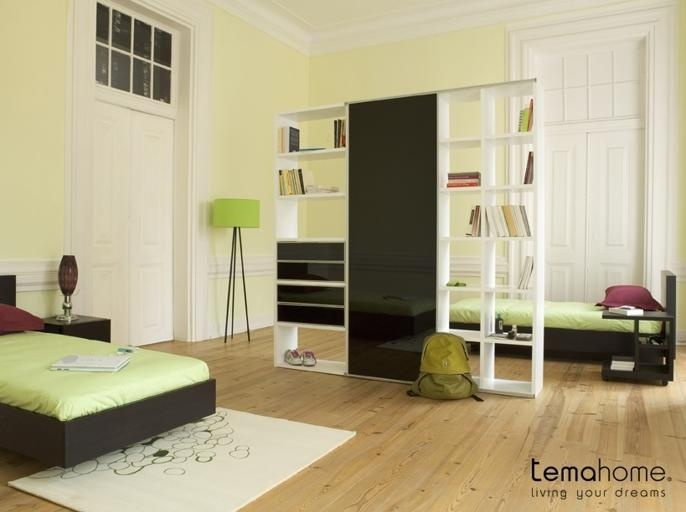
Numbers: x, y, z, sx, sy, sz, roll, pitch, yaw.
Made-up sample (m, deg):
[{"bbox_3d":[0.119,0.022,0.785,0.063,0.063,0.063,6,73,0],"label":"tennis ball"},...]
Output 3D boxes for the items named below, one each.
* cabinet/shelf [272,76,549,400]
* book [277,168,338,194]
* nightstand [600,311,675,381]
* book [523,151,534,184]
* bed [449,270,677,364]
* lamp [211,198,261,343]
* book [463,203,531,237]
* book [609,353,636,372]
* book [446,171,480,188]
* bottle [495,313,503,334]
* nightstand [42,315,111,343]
[{"bbox_3d":[0.899,-0.440,5.997,2.622,2.935,3.067,3,8,18],"label":"cabinet/shelf"},{"bbox_3d":[-0.429,-0.689,5.430,0.507,0.188,0.319,1,2,17],"label":"book"},{"bbox_3d":[2.749,0.833,5.138,0.792,0.560,0.733,0,0,26],"label":"nightstand"},{"bbox_3d":[1.579,-0.742,4.608,0.073,0.278,0.404,3,8,18],"label":"book"},{"bbox_3d":[2.316,0.627,5.672,1.839,0.670,0.978,0,0,27],"label":"bed"},{"bbox_3d":[-1.346,0.164,6.705,0.562,1.747,0.837,-2,9,-13],"label":"lamp"},{"bbox_3d":[1.335,-0.300,4.665,0.551,0.273,0.243,2,8,17],"label":"book"},{"bbox_3d":[2.641,1.004,5.131,0.200,0.039,0.179,0,8,36],"label":"book"},{"bbox_3d":[1.079,-0.663,4.768,0.236,0.090,0.171,2,6,31],"label":"book"},{"bbox_3d":[1.388,0.599,4.854,0.063,0.169,0.195,2,8,15],"label":"bottle"},{"bbox_3d":[-2.490,0.596,5.031,0.392,0.289,0.376,5,8,36],"label":"nightstand"}]
